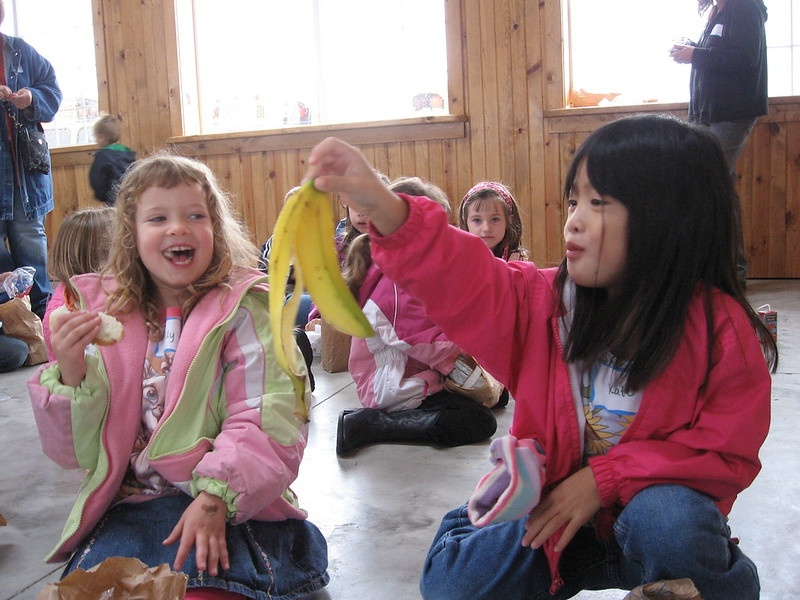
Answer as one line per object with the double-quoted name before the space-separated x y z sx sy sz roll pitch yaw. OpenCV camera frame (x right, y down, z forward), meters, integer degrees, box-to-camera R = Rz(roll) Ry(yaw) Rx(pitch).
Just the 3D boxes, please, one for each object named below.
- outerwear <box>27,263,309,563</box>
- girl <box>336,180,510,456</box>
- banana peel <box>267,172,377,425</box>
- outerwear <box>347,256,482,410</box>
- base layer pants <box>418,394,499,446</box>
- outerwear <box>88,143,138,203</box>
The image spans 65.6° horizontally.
"outerwear" -0.477 0.238 1.328 0.515 0.562 0.468 -3 2 -8
"girl" 0.083 0.044 2.292 0.503 0.935 0.612 -3 -2 20
"banana peel" -0.130 -0.005 0.929 0.127 0.386 0.108 3 -12 -26
"outerwear" -0.043 0.111 2.272 0.336 0.549 0.558 -6 -2 -39
"base layer pants" 0.183 0.354 1.981 0.164 0.071 0.170 2 10 23
"outerwear" -1.883 -0.858 4.045 0.223 0.403 0.367 21 25 1
